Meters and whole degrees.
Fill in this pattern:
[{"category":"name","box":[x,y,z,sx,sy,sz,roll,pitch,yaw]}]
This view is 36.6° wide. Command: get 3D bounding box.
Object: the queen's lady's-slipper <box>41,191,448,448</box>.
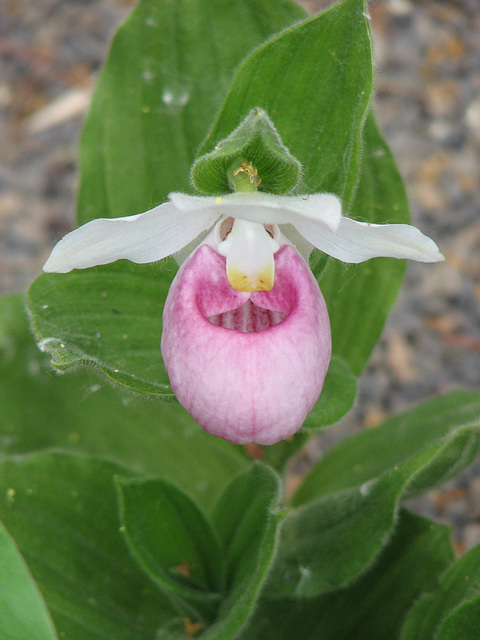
[{"category":"queen's lady's-slipper","box":[0.036,0.096,1.229,0.656,0.331,0.274,1,41,-4]}]
